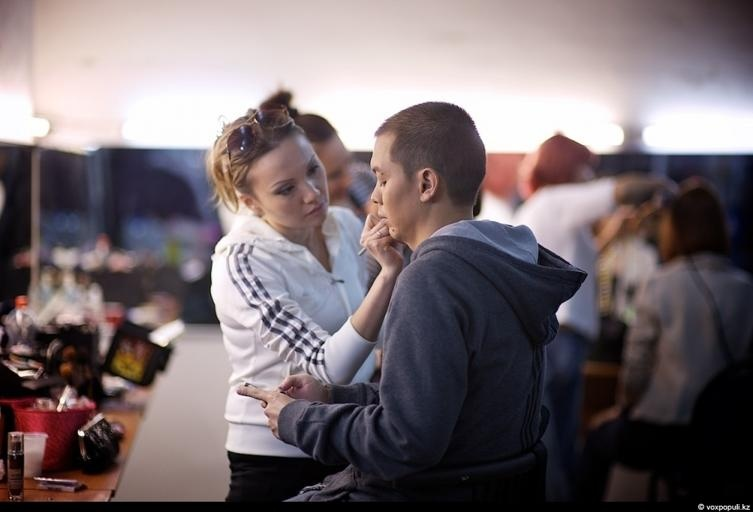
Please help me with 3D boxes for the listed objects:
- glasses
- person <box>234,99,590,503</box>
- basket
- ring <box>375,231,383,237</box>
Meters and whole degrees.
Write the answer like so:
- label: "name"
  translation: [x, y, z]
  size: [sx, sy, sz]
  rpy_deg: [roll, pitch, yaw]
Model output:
- label: "glasses"
  translation: [-0.372, -0.440, 2.413]
  size: [0.245, 0.072, 0.123]
  rpy_deg: [-6, 29, 36]
- label: "person"
  translation: [0.152, 0.182, 2.133]
  size: [0.985, 1.212, 0.789]
  rpy_deg: [1, 5, 24]
- label: "basket"
  translation: [-1.066, 0.583, 2.281]
  size: [0.233, 0.174, 0.212]
  rpy_deg: [-1, -2, 25]
- label: "ring"
  translation: [0.007, -0.067, 2.040]
  size: [0.014, 0.018, 0.006]
  rpy_deg: [-6, -1, -10]
